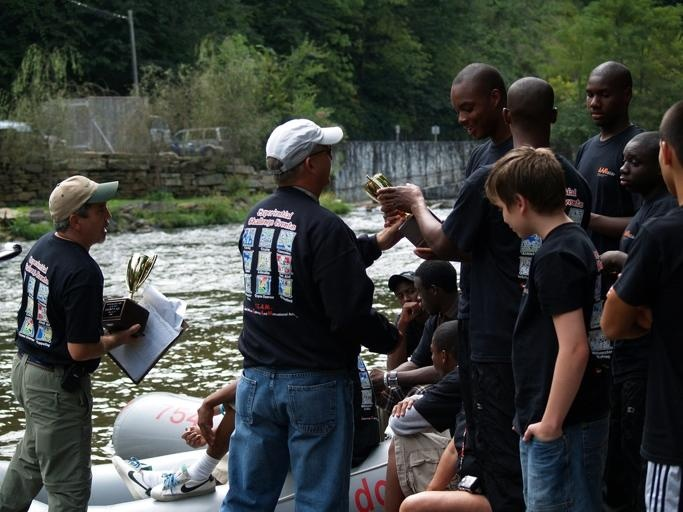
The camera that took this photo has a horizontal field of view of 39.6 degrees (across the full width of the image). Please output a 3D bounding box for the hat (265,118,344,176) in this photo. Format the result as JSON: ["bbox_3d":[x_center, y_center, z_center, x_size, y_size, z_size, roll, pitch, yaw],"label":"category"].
[{"bbox_3d":[-0.161,-0.700,5.587,0.347,0.193,0.239,-28,3,24],"label":"hat"}]

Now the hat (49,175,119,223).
[{"bbox_3d":[-1.665,-0.391,6.145,0.417,0.240,0.272,-25,18,-7],"label":"hat"}]

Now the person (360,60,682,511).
[{"bbox_3d":[0.994,0.101,5.758,1.014,2.535,0.908,-8,10,-44],"label":"person"}]

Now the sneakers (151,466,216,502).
[{"bbox_3d":[-1.013,1.476,6.138,0.440,0.222,0.174,-1,4,-10],"label":"sneakers"}]

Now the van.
[{"bbox_3d":[-8.066,-4.703,34.305,9.079,2.163,1.803,-8,11,-43],"label":"van"}]
